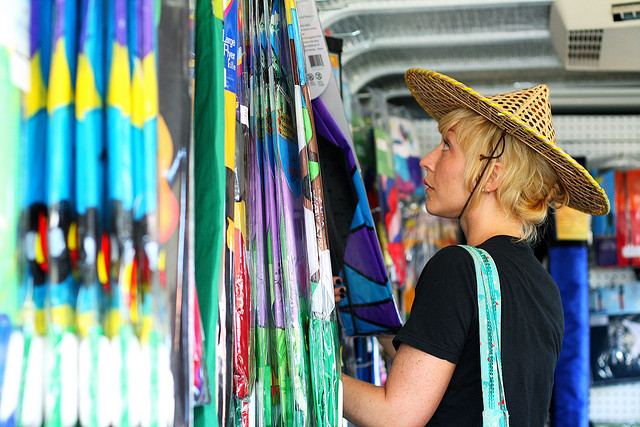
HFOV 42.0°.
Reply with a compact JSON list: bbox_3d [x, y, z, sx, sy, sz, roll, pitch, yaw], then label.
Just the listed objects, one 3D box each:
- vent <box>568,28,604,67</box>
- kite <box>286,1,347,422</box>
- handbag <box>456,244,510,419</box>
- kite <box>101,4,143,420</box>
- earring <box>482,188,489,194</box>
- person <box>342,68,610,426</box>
[{"bbox_3d":[1.220,-0.774,3.850,0.105,0.222,0.216,-1,2,8],"label":"vent"},{"bbox_3d":[-0.021,-0.010,2.319,0.144,1.168,0.059,0,-4,-16],"label":"kite"},{"bbox_3d":[0.477,0.346,2.444,0.122,0.502,0.066,-2,-4,8],"label":"handbag"},{"bbox_3d":[-0.498,-0.007,2.083,0.096,1.043,0.058,0,-4,-9],"label":"kite"},{"bbox_3d":[0.522,-0.073,2.633,0.019,0.016,0.025,-3,-4,16],"label":"earring"},{"bbox_3d":[0.490,0.082,2.645,0.821,1.163,0.477,-2,-4,6],"label":"person"}]
